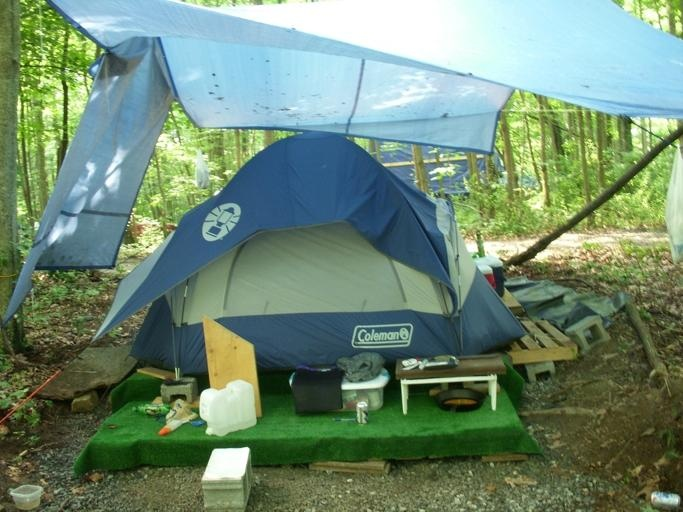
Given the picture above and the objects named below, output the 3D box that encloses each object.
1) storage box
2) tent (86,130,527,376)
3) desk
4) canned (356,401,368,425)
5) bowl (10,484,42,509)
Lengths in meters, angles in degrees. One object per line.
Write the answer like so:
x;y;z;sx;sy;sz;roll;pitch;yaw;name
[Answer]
-0.053;1.436;6.499;0.789;0.222;0.554;-1;9;2;storage box
-0.272;-0.003;7.351;3.952;1.621;3.224;-2;11;1;tent
1.199;1.383;6.499;1.148;0.512;0.528;-3;8;7;desk
0.214;1.638;6.246;0.126;0.231;0.122;-5;8;0;canned
-3.030;2.310;5.769;0.278;0.157;0.219;-1;-5;18;bowl
